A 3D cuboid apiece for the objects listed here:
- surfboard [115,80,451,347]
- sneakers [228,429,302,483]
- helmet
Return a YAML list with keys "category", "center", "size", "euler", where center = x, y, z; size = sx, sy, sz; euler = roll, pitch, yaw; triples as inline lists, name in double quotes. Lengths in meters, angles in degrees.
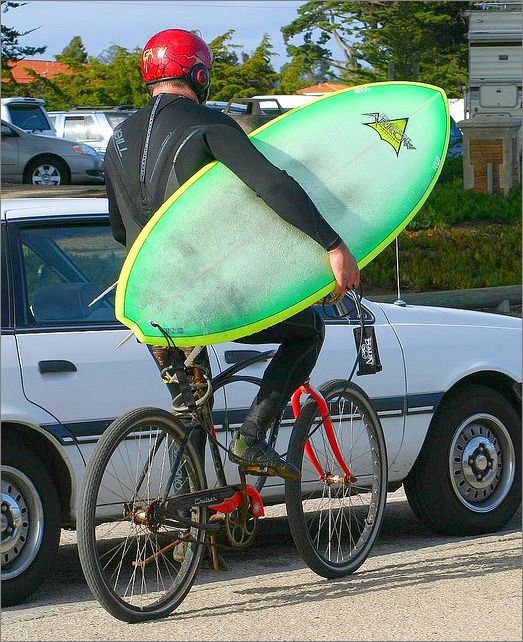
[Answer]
- category: "surfboard"
  center: [0.161, -0.499, 3.242]
  size: [0.545, 1.179, 1.506]
  euler: [-8, -6, 35]
- category: "sneakers"
  center: [0.002, 0.476, 3.166]
  size: [0.363, 0.134, 0.120]
  euler: [22, -14, -33]
- category: "helmet"
  center: [-0.300, -0.910, 3.100]
  size: [0.283, 0.243, 0.249]
  euler: [-23, 38, -37]
